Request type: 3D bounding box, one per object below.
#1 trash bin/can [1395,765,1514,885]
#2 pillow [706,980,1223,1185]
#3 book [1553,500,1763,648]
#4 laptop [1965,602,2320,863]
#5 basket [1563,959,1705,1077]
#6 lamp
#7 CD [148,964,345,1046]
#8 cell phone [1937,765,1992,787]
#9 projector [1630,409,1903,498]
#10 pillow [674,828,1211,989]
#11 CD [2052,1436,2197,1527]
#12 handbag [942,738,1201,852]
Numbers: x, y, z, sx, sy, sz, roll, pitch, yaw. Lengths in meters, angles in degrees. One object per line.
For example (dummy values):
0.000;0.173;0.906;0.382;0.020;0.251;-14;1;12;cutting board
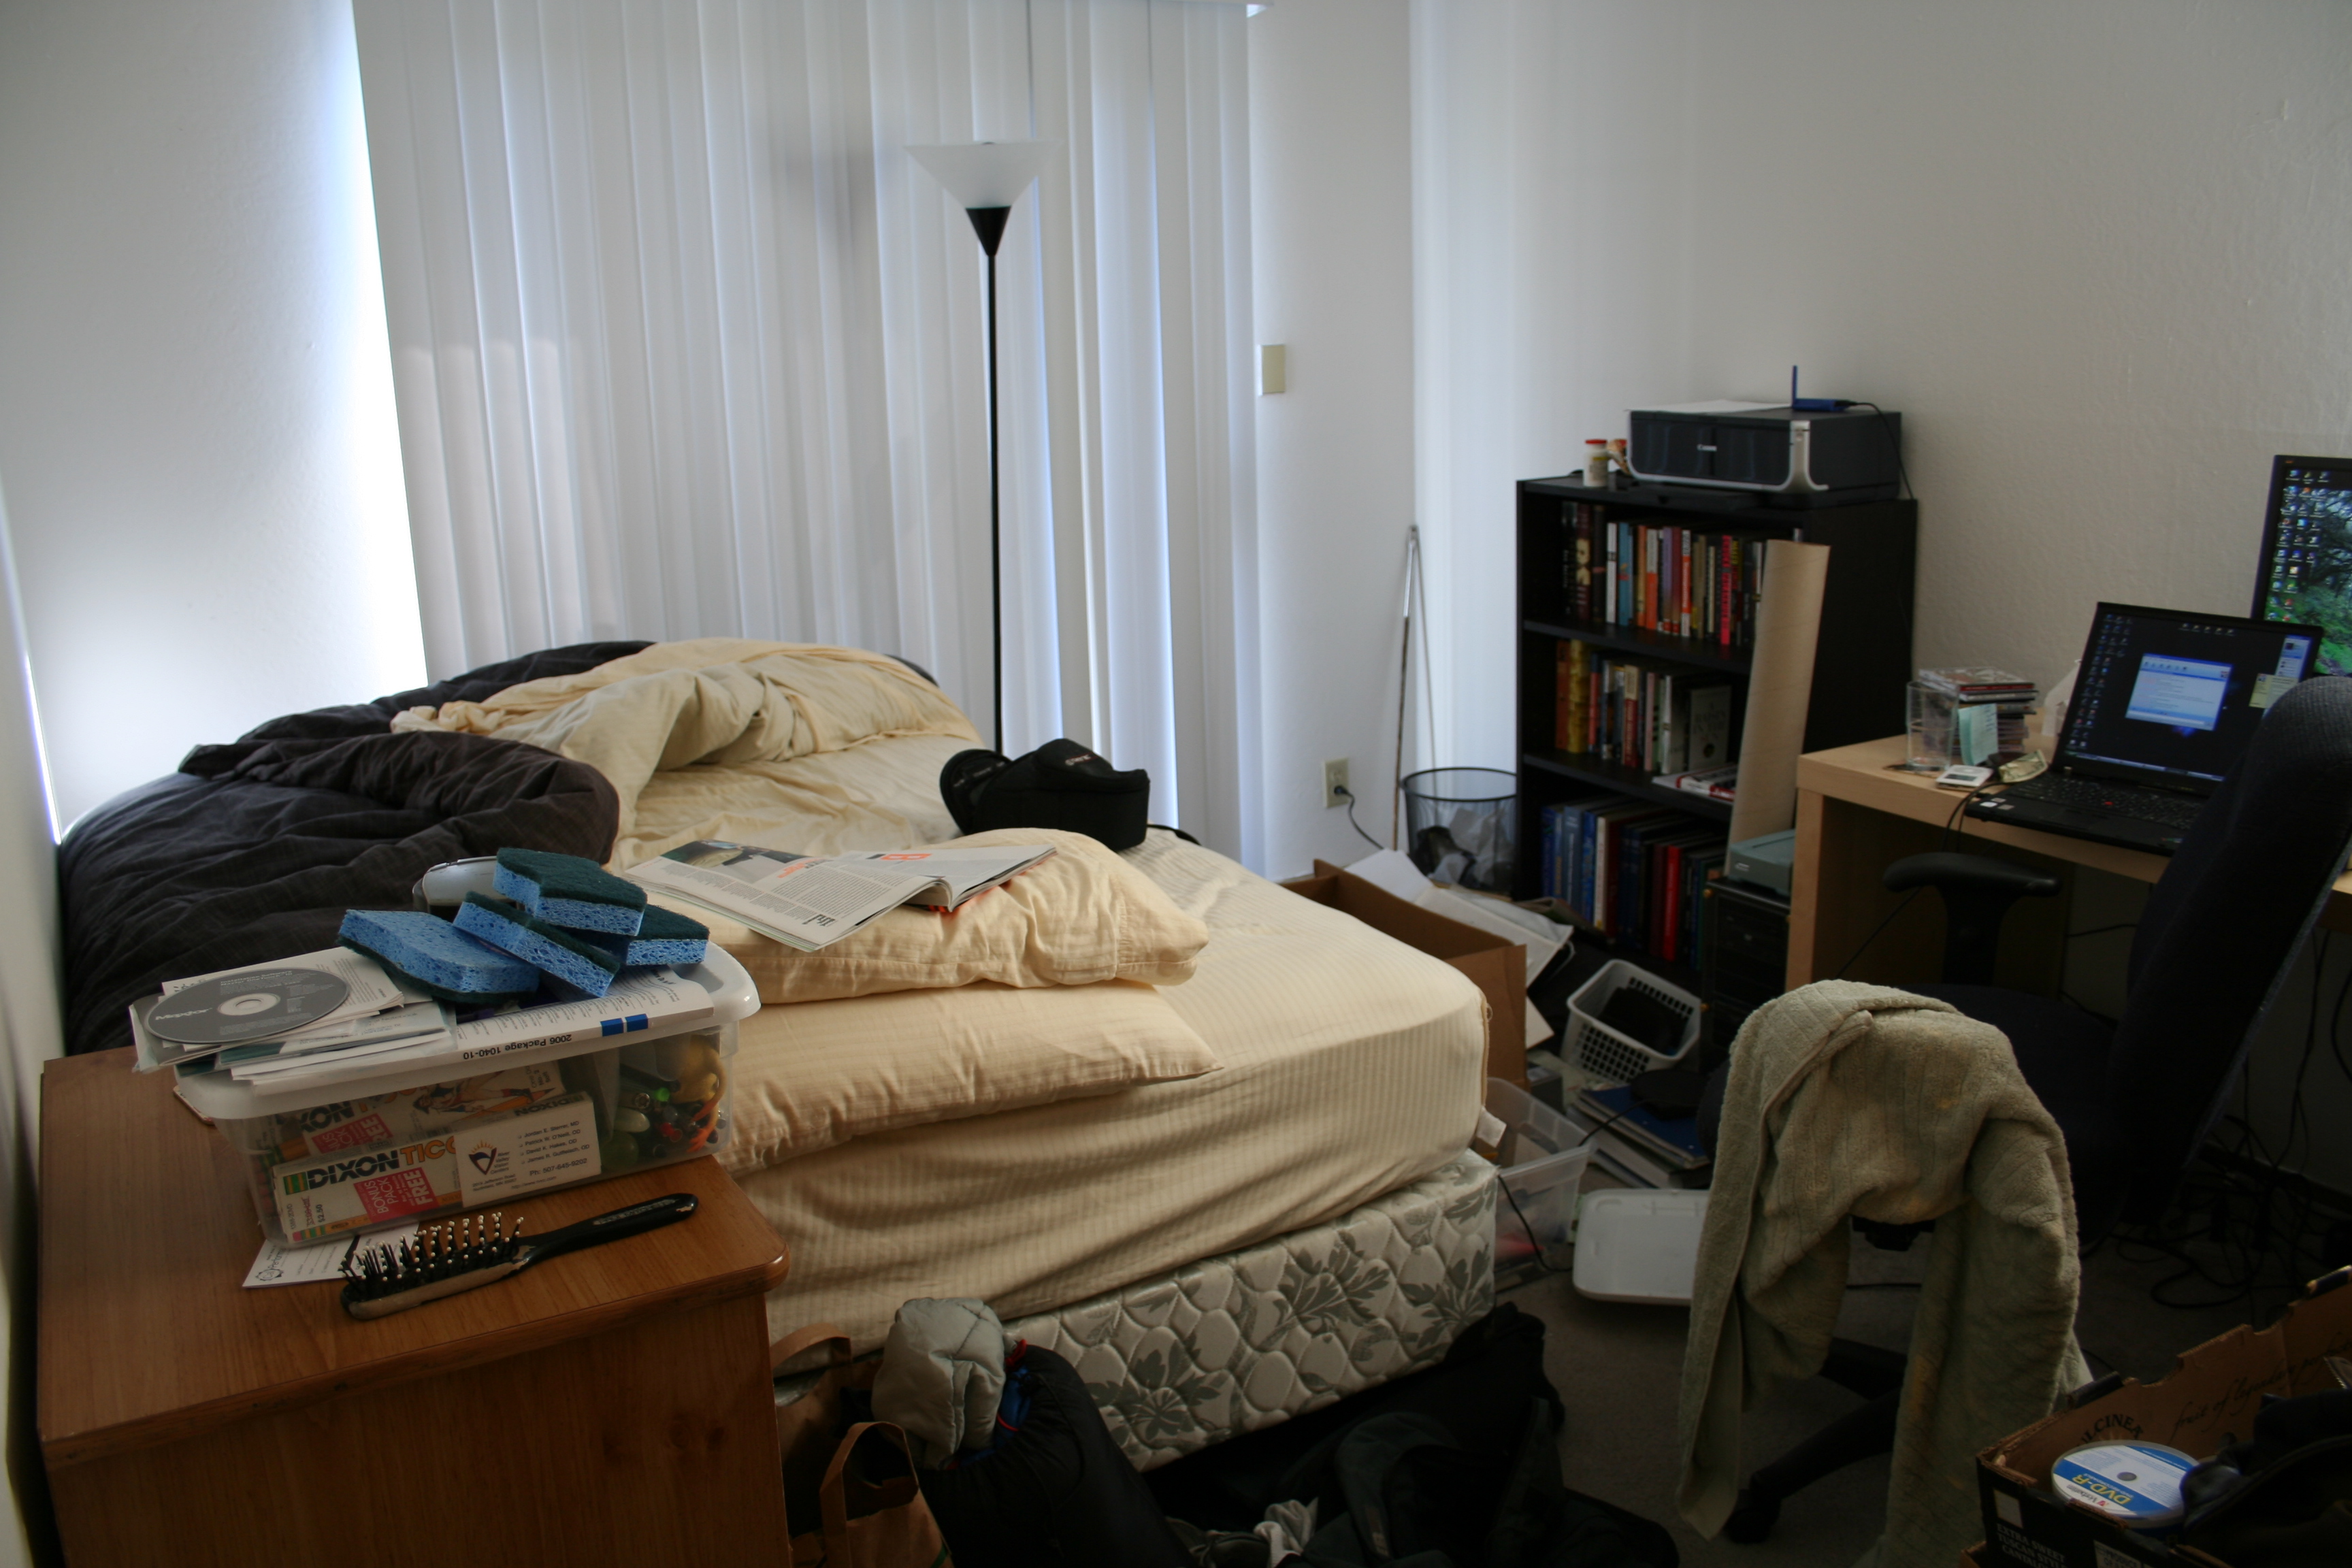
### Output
0.860;0.125;4.852;0.288;0.320;0.291;9;1;29;trash bin/can
-0.352;0.425;2.541;0.480;0.098;0.289;-4;21;-20;pillow
1.256;-0.541;4.258;0.192;0.399;0.405;-6;10;-44;book
1.847;-0.110;3.196;0.490;0.331;0.542;-10;17;-11;laptop
1.068;0.553;3.909;0.267;0.161;0.264;-26;36;-29;basket
-0.497;-0.881;4.487;0.325;1.611;0.370;-4;19;-7;lamp
-1.095;0.262;1.948;0.211;0.036;0.154;-11;21;-27;CD
1.610;-0.017;3.384;0.056;0.020;0.070;6;19;29;cell phone
1.487;-0.797;3.960;0.293;0.155;0.397;-9;15;-30;projector
-0.572;0.179;2.817;0.560;0.120;0.541;-7;-6;-29;pillow
1.165;0.846;2.040;0.144;0.039;0.147;12;23;33;CD
-0.285;0.018;3.460;0.312;0.114;0.252;7;9;10;handbag
